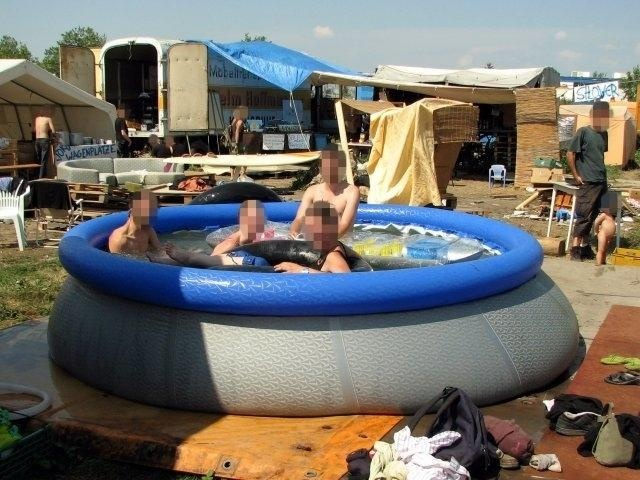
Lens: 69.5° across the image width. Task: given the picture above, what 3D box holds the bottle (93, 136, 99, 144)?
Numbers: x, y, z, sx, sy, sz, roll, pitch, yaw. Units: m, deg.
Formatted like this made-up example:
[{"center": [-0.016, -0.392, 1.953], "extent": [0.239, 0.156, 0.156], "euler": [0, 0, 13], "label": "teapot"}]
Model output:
[{"center": [-7.254, -3.239, 14.988], "extent": [0.246, 0.212, 0.844], "euler": [-6, 13, -24], "label": "bottle"}]

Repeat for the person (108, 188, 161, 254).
[{"center": [-1.862, -0.154, 4.572], "extent": [0.498, 0.685, 0.482], "euler": [-6, 14, -21], "label": "person"}]

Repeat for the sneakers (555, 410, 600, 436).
[{"center": [1.450, 1.041, 2.599], "extent": [0.178, 0.066, 0.166], "euler": [-2, 5, 6], "label": "sneakers"}]

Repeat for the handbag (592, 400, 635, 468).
[{"center": [1.489, 1.036, 2.368], "extent": [0.191, 0.195, 0.173], "euler": [-3, 13, -10], "label": "handbag"}]

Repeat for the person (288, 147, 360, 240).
[{"center": [0.057, -0.519, 5.044], "extent": [0.785, 1.024, 0.836], "euler": [13, 21, 39], "label": "person"}]

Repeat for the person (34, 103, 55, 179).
[{"center": [-7.187, -2.551, 12.073], "extent": [0.489, 1.796, 0.859], "euler": [-8, 15, -28], "label": "person"}]

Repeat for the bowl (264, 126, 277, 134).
[{"center": [-1.977, -4.300, 18.020], "extent": [0.549, 0.169, 0.517], "euler": [-3, 15, 1], "label": "bowl"}]

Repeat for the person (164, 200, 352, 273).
[{"center": [-0.640, -0.038, 4.495], "extent": [1.825, 0.589, 1.189], "euler": [0, 16, 7], "label": "person"}]

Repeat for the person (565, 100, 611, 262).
[{"center": [3.733, -0.798, 6.464], "extent": [0.458, 2.155, 0.369], "euler": [-8, 15, -27], "label": "person"}]
